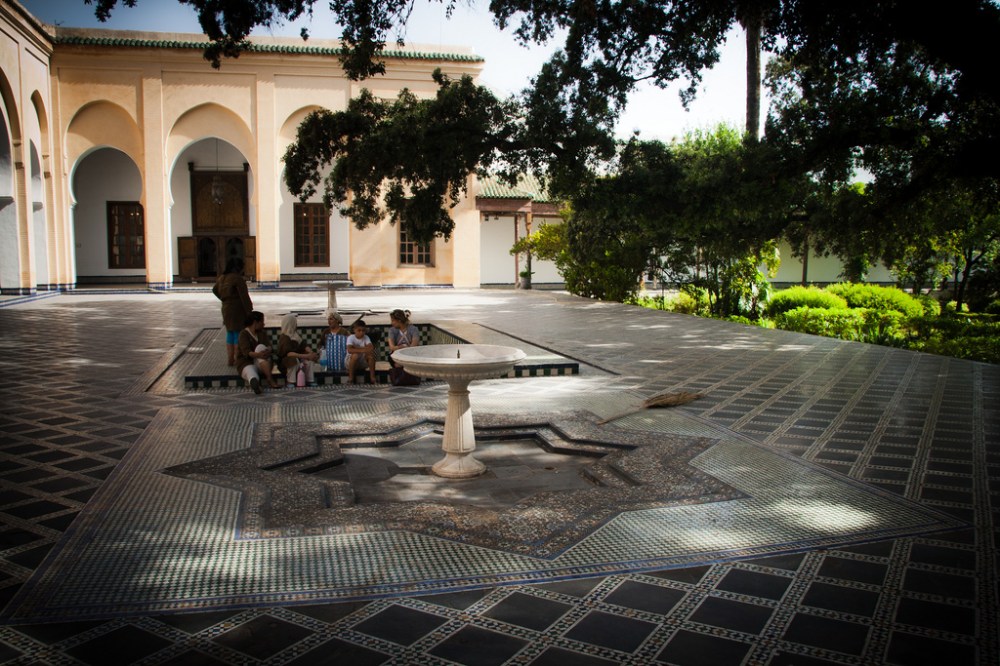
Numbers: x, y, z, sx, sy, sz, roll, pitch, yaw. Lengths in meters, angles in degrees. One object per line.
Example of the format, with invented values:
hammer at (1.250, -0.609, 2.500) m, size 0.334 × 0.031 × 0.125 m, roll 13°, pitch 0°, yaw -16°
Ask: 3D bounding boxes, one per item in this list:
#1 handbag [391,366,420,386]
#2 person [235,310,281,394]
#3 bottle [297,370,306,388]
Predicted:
handbag at (-1.110, 0.501, 8.001) m, size 0.267 × 0.279 × 0.209 m, roll -1°, pitch 3°, yaw -13°
person at (-2.841, 0.196, 7.885) m, size 0.421 × 0.836 × 0.903 m, roll -6°, pitch 23°, yaw -23°
bottle at (-2.342, 0.522, 7.982) m, size 0.113 × 0.184 × 0.147 m, roll -3°, pitch 12°, yaw -15°
